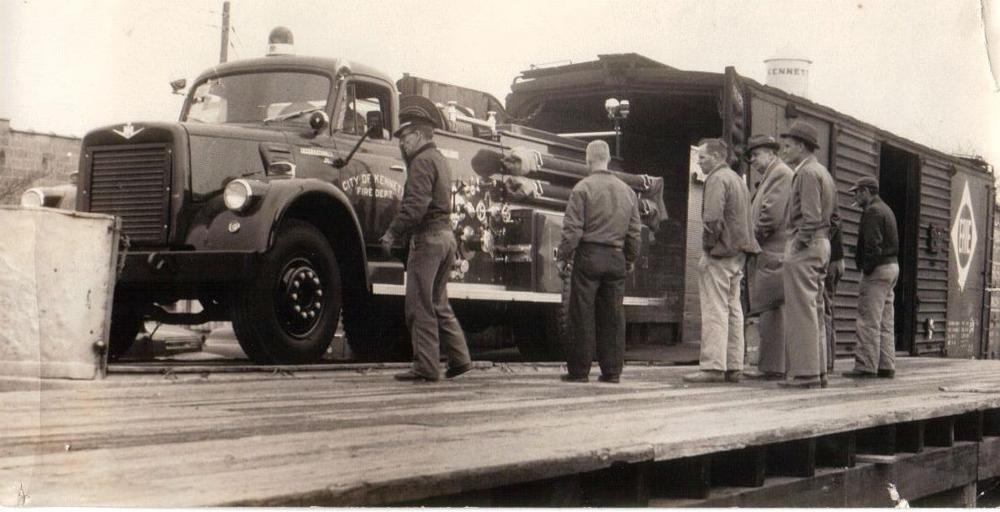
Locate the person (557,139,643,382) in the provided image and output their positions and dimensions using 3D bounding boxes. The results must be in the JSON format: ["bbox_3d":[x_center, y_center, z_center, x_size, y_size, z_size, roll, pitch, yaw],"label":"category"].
[{"bbox_3d":[1.209,0.052,13.370,0.924,2.887,1.180,2,11,3],"label":"person"}]

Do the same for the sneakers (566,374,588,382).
[{"bbox_3d":[0.943,1.510,13.119,0.274,0.107,0.100,5,1,23],"label":"sneakers"}]

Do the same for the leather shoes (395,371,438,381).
[{"bbox_3d":[-0.981,1.426,12.595,0.479,0.172,0.165,-2,-3,-1],"label":"leather shoes"}]

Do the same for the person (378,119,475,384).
[{"bbox_3d":[-0.856,0.007,12.874,0.986,3.269,1.251,0,11,-7],"label":"person"}]

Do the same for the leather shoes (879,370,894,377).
[{"bbox_3d":[5.725,1.730,15.651,0.119,0.052,0.152,2,-10,-10],"label":"leather shoes"}]

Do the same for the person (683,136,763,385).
[{"bbox_3d":[2.936,0.134,13.953,0.836,3.254,1.345,4,11,12],"label":"person"}]

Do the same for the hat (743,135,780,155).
[{"bbox_3d":[3.777,-1.615,14.973,0.408,0.142,0.344,0,-11,-34],"label":"hat"}]

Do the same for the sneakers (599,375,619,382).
[{"bbox_3d":[1.381,1.516,13.283,0.244,0.069,0.122,2,11,1],"label":"sneakers"}]

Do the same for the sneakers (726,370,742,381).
[{"bbox_3d":[3.057,1.568,13.845,0.181,0.108,0.111,-9,-7,34],"label":"sneakers"}]

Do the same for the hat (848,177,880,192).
[{"bbox_3d":[5.534,-1.106,16.237,0.562,0.255,0.354,1,0,14],"label":"hat"}]

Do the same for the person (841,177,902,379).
[{"bbox_3d":[5.612,0.301,15.826,0.782,2.841,1.427,5,12,17],"label":"person"}]
